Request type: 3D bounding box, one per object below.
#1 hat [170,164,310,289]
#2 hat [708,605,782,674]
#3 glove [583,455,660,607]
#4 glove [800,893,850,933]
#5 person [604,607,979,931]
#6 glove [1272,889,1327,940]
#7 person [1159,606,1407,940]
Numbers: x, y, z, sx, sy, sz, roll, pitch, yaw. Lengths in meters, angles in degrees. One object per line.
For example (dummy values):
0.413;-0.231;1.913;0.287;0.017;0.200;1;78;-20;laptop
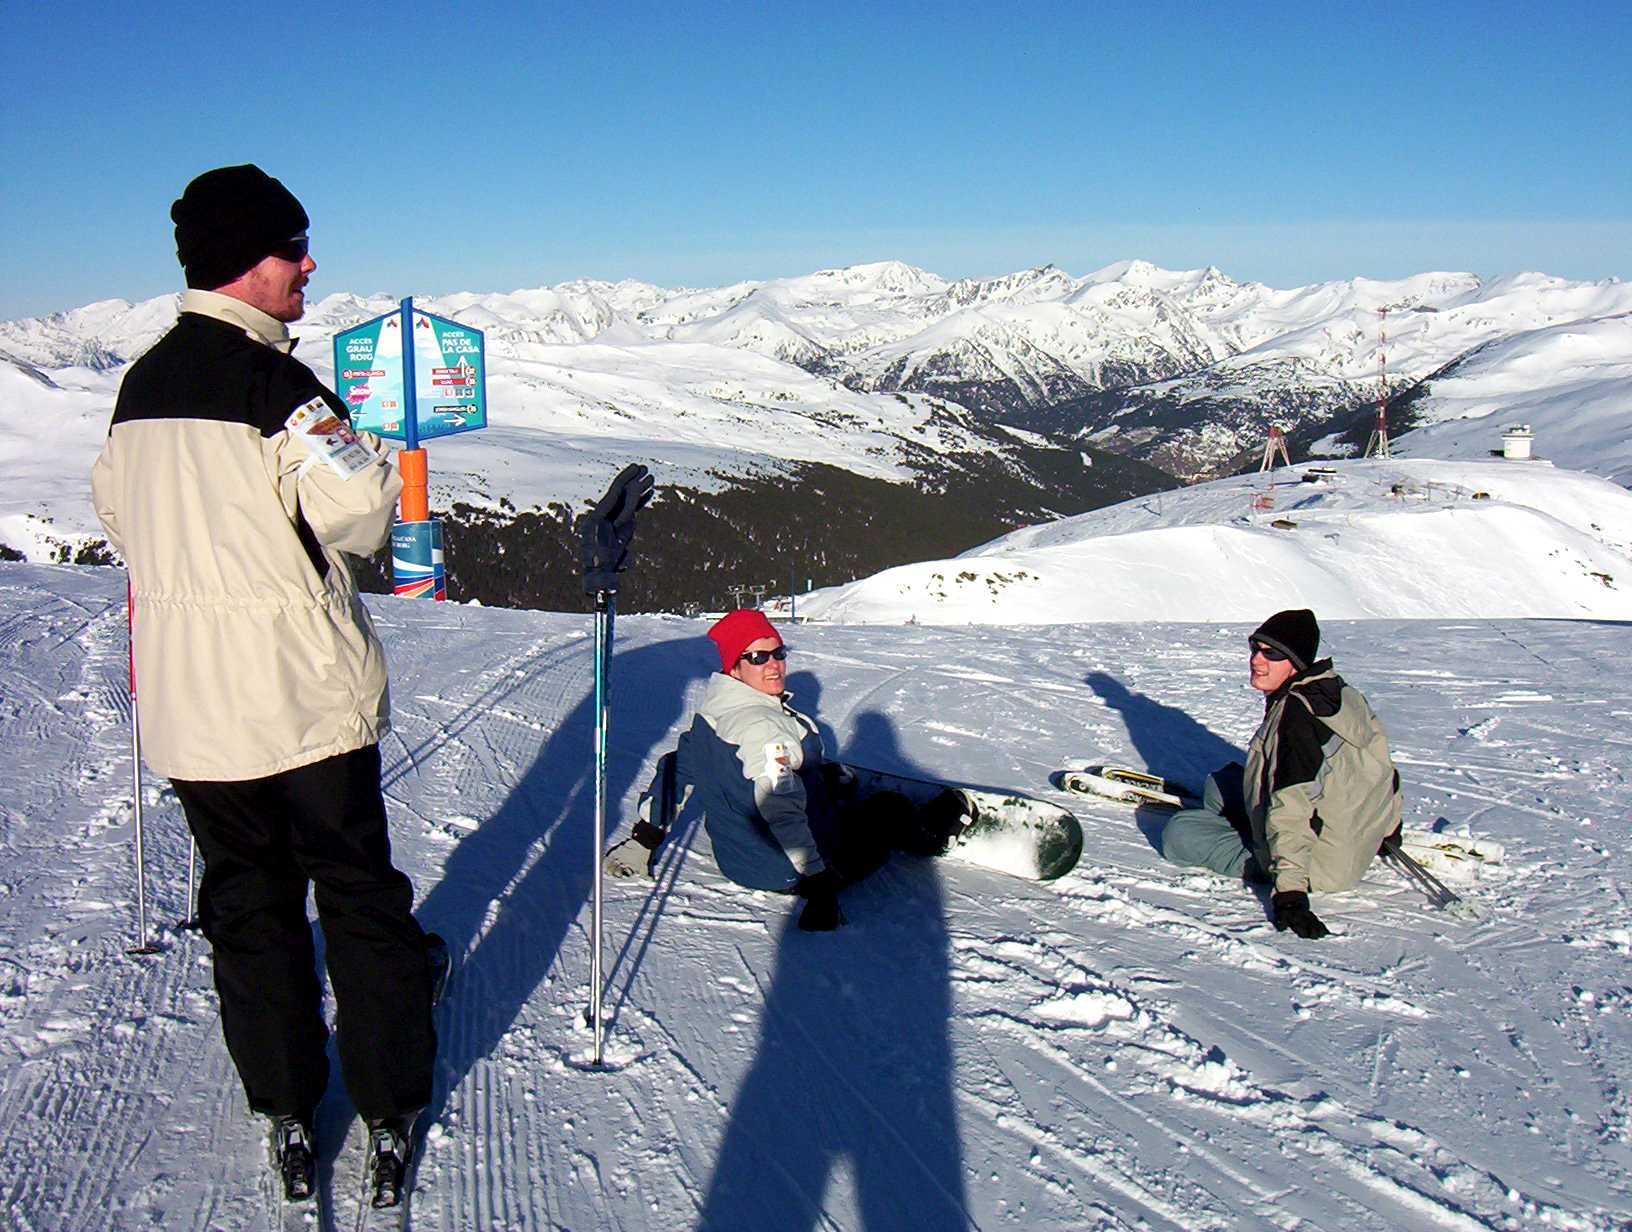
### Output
-1.974;-1.329;4.719;0.421;0.412;0.225;-7;13;-23;hat
-0.375;0.101;7.042;0.370;0.316;0.273;-4;18;27;hat
-0.816;-0.338;5.564;0.197;0.504;0.511;17;-3;0;glove
0.031;1.498;6.939;0.207;0.178;0.047;7;-26;-1;glove
-0.185;0.676;7.359;1.201;1.576;1.230;7;15;36;person
2.460;1.513;6.940;0.263;0.224;0.152;3;13;22;glove
2.542;0.766;7.270;0.784;1.542;1.043;-7;13;-21;person
